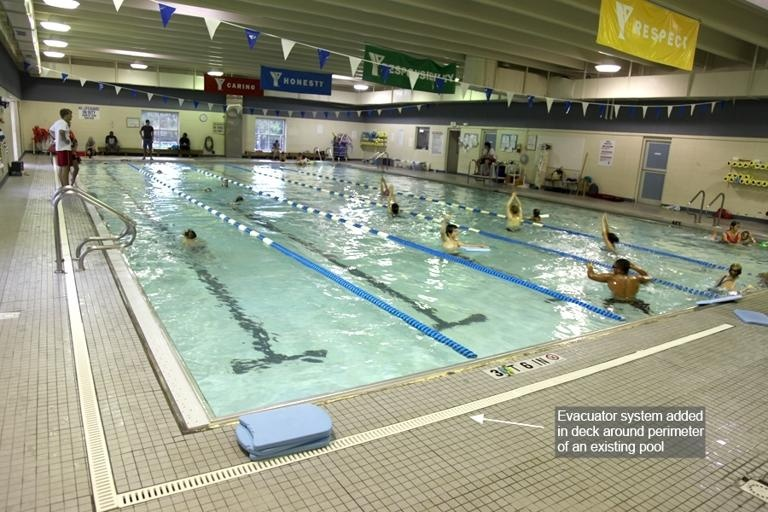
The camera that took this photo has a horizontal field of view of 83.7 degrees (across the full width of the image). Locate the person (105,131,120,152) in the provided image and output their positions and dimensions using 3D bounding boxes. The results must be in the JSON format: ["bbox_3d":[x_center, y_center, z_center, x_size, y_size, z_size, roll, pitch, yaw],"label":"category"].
[{"bbox_3d":[-12.343,-5.111,19.187,0.541,0.990,0.408,-10,20,-28],"label":"person"}]

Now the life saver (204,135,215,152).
[{"bbox_3d":[-8.754,-5.518,21.212,0.532,0.838,0.180,-8,20,-25],"label":"life saver"}]

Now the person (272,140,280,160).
[{"bbox_3d":[-5.782,-5.646,22.558,0.446,1.028,1.794,-4,16,-13],"label":"person"}]
